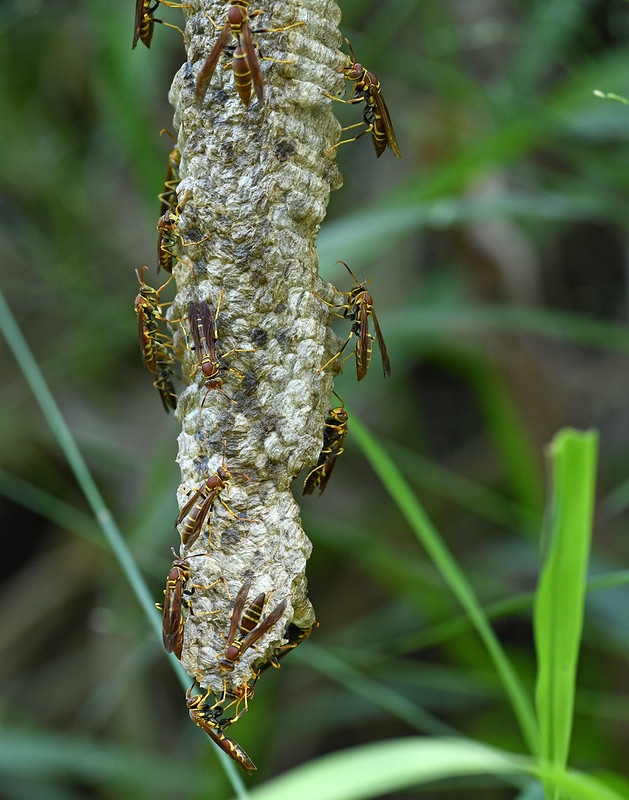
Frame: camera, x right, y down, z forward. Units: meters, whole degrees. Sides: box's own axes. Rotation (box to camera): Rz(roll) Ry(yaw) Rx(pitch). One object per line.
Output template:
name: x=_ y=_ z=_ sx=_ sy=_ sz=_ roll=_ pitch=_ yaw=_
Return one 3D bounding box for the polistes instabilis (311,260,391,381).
polistes instabilis: x=0.026 y=-0.144 z=1.809 sx=0.074 sy=0.187 sz=0.168 roll=-23 pitch=-15 yaw=28

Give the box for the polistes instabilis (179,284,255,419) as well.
polistes instabilis: x=-0.175 y=-0.092 z=1.592 sx=0.150 sy=0.159 sz=0.062 roll=-13 pitch=-5 yaw=44

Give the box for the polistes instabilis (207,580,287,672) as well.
polistes instabilis: x=-0.112 y=0.373 z=1.593 sx=0.110 sy=0.042 sz=0.141 roll=34 pitch=-72 yaw=-3

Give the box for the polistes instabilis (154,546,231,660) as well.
polistes instabilis: x=-0.225 y=0.349 z=1.660 sx=0.140 sy=0.159 sz=0.065 roll=9 pitch=8 yaw=39

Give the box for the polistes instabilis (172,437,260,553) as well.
polistes instabilis: x=-0.181 y=0.170 z=1.635 sx=0.156 sy=0.150 sz=0.112 roll=-18 pitch=-40 yaw=27
